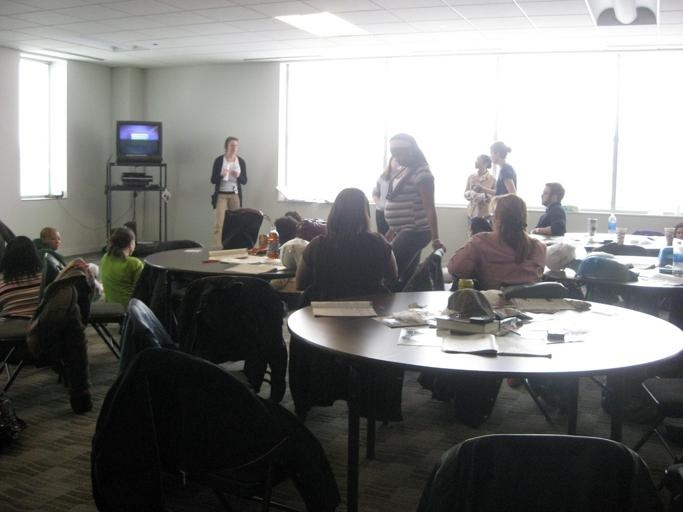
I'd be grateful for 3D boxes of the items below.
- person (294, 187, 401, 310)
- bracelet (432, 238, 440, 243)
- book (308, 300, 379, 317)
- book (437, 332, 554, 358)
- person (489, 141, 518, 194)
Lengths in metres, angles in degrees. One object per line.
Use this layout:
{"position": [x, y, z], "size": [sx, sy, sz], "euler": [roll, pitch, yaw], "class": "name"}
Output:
{"position": [0.079, -0.117, 3.638], "size": [0.736, 1.076, 0.625], "euler": [5, 17, 8], "class": "person"}
{"position": [0.721, -0.113, 4.281], "size": [0.042, 0.026, 0.057], "euler": [-1, 7, 0], "class": "bracelet"}
{"position": [0.012, 0.262, 2.835], "size": [0.313, 0.027, 0.226], "euler": [-1, 10, -5], "class": "book"}
{"position": [0.618, 0.354, 2.286], "size": [0.420, 0.025, 0.255], "euler": [2, 10, 10], "class": "book"}
{"position": [2.173, -1.199, 7.606], "size": [0.318, 0.734, 1.651], "euler": [2, 10, 15], "class": "person"}
